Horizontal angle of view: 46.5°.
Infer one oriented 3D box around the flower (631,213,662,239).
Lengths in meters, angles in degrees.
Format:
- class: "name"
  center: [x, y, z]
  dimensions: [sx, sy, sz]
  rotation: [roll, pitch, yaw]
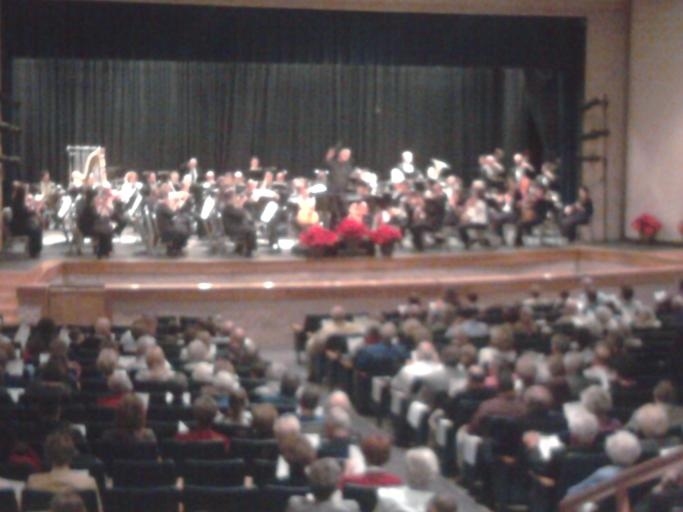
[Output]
- class: "flower"
  center: [6.124, -0.595, 16.071]
  dimensions: [0.472, 0.502, 0.495]
  rotation: [0, 1, 2]
